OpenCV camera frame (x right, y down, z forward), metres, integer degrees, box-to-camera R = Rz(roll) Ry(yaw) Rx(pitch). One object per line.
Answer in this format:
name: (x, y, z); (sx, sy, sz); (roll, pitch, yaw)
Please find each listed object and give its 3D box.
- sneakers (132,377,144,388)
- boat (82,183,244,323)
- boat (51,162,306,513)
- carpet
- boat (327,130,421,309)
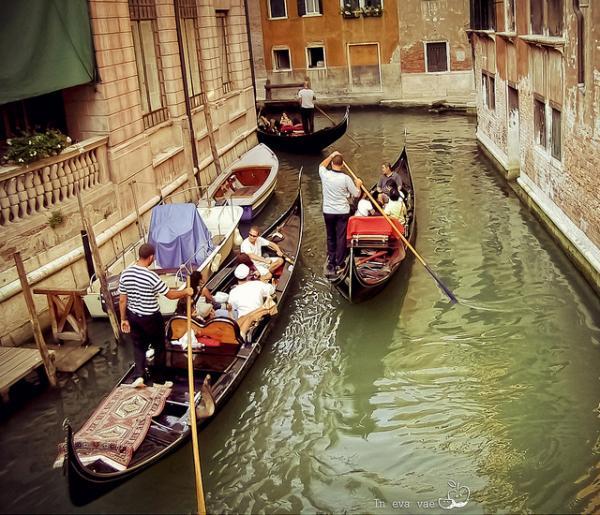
sneakers: (-1.838, 1.411, 5.980); (0.070, 0.049, 0.122); (8, 16, 4)
boat: (-2.178, -0.285, 9.316); (1.150, 1.197, 2.946); (7, 35, 16)
boat: (-1.076, 0.557, 7.015); (0.974, 1.540, 5.892); (3, 40, 25)
carpet: (-1.815, 1.663, 5.431); (0.502, 0.135, 0.928); (12, 32, 8)
boat: (1.311, -0.588, 9.161); (0.997, 1.191, 4.015); (-1, 46, 21)
